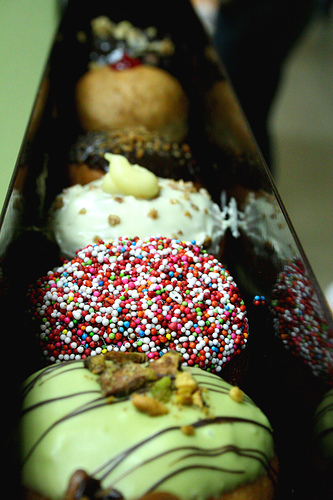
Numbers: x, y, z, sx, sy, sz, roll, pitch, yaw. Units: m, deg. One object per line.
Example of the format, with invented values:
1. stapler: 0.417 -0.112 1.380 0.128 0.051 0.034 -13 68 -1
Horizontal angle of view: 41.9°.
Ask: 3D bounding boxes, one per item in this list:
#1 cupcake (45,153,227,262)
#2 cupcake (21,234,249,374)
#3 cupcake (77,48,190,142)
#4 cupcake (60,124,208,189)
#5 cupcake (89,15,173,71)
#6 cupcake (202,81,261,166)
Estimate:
1. cupcake: -0.085 -0.101 0.798 0.326 0.177 0.282 -15 15 -41
2. cupcake: -0.044 0.030 0.606 0.164 0.071 0.210 1 24 -8
3. cupcake: -0.053 -0.261 0.729 0.184 0.100 0.107 0 55 -5
4. cupcake: -0.068 -0.130 0.779 0.125 0.154 0.054 4 84 -10
5. cupcake: -0.059 -0.339 0.715 0.114 0.070 0.038 15 12 -10
6. cupcake: 0.096 -0.183 0.681 0.032 0.096 0.173 -14 58 -13
